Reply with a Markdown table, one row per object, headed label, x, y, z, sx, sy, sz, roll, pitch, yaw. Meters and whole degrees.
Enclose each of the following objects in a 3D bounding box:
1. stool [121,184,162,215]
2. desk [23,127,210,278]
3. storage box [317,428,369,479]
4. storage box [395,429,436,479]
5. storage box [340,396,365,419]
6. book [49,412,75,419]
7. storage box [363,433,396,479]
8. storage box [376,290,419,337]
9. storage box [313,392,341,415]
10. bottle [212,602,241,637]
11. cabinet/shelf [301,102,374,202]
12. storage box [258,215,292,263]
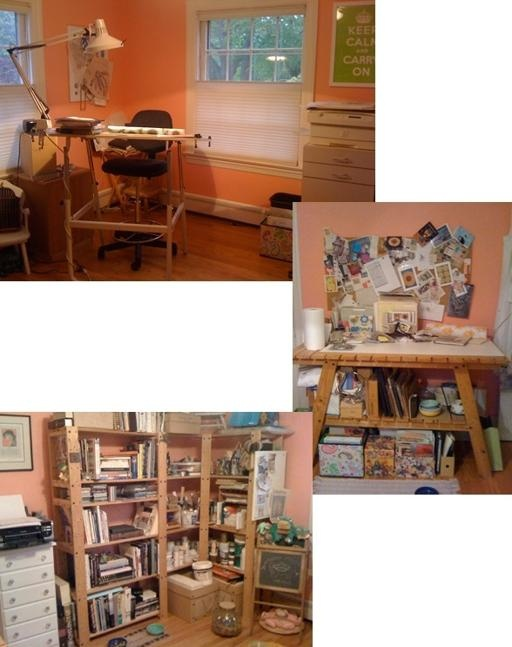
| label | x | y | z | sx | sy | sz | roll | pitch | yaw |
| --- | --- | --- | --- | --- | --- | --- | --- | --- | --- |
| stool | -0.524 | -0.561 | 2.211 | 0.146 | 0.111 | 0.147 | 21 | 34 | 19 |
| desk | -0.521 | -0.502 | 2.099 | 0.526 | 0.383 | 0.553 | -5 | 20 | -26 |
| storage box | 0.325 | 0.491 | 1.820 | 0.195 | 0.153 | 0.198 | 2 | -10 | -7 |
| storage box | 0.562 | 0.464 | 1.724 | 0.162 | 0.164 | 0.102 | 0 | 6 | 4 |
| storage box | 0.339 | 0.302 | 1.723 | 0.080 | 0.050 | 0.080 | 1 | 9 | 10 |
| book | -0.719 | 0.341 | 1.791 | 0.085 | 0.021 | 0.025 | -1 | 8 | 3 |
| storage box | 0.444 | 0.474 | 1.804 | 0.149 | 0.144 | 0.150 | 1 | 17 | 9 |
| storage box | 0.494 | -0.032 | 1.728 | 0.143 | 0.139 | 0.103 | 0 | 14 | -6 |
| storage box | 0.256 | 0.288 | 1.732 | 0.089 | 0.087 | 0.063 | 3 | 8 | 8 |
| bottle | -0.103 | 1.036 | 1.739 | 0.099 | 0.084 | 0.095 | 4 | 0 | 39 |
| cabinet/shelf | 0.361 | -0.727 | 2.029 | 0.308 | 0.418 | 0.288 | 7 | 41 | 9 |
| storage box | 0.078 | -0.333 | 1.935 | 0.144 | 0.139 | 0.110 | 17 | 40 | 21 |
